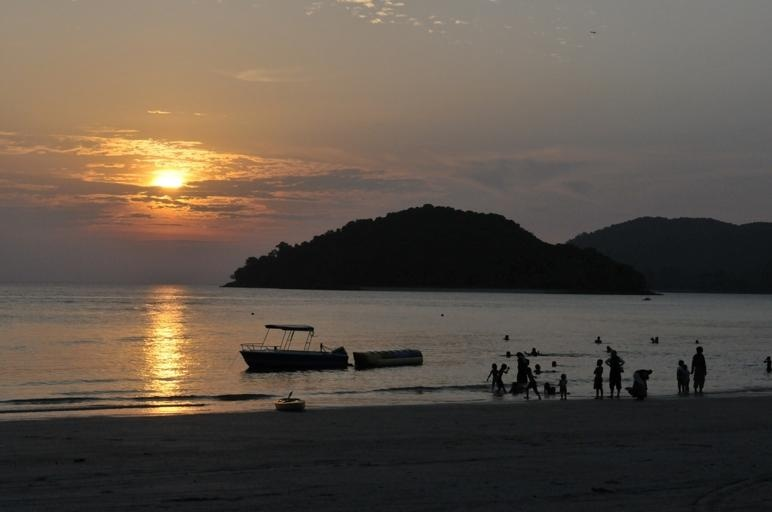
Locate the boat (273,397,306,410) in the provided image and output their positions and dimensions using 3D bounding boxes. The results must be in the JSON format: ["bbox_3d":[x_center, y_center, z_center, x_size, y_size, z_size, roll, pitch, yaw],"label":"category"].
[{"bbox_3d":[-5.939,9.385,78.998,1.968,0.654,1.508,3,7,28],"label":"boat"}]

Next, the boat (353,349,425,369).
[{"bbox_3d":[-0.095,8.915,105.215,7.621,1.379,1.784,-2,12,-16],"label":"boat"}]
